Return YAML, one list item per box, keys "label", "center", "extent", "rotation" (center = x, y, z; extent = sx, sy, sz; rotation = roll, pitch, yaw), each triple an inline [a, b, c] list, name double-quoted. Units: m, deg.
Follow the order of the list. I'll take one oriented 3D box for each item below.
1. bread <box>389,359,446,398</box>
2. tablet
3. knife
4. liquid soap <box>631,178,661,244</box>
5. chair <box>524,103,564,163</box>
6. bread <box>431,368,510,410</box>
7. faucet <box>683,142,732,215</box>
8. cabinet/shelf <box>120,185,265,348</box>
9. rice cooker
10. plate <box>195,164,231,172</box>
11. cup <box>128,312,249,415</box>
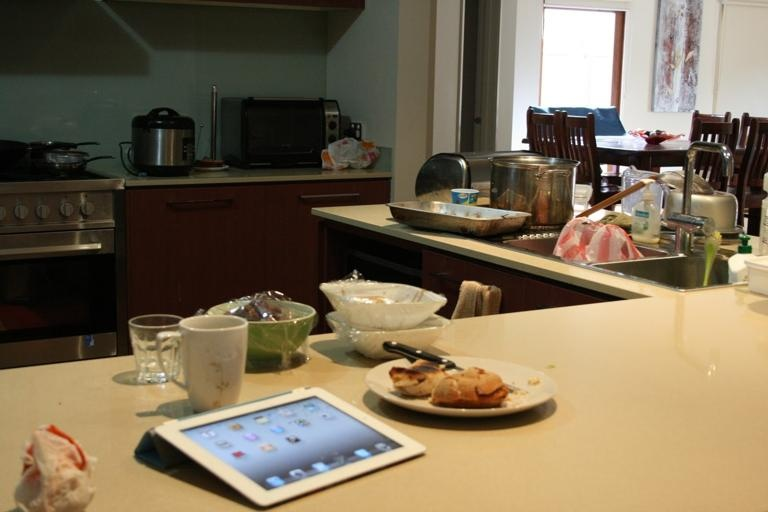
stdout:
- label: "bread"
  center: [0.052, 0.213, 1.003]
  extent: [0.075, 0.050, 0.095]
  rotation: [5, 8, -12]
- label: "tablet"
  center: [-0.141, 0.273, 0.829]
  extent: [0.299, 0.042, 0.267]
  rotation: [-11, 19, -41]
- label: "knife"
  center: [0.109, 0.181, 1.067]
  extent: [0.190, 0.076, 0.201]
  rotation: [1, 8, -30]
- label: "liquid soap"
  center: [1.059, -0.179, 2.262]
  extent: [0.071, 0.264, 0.106]
  rotation: [-20, 24, -40]
- label: "chair"
  center: [1.591, -1.061, 5.285]
  extent: [0.418, 0.529, 0.421]
  rotation: [-13, 24, -41]
- label: "bread"
  center: [0.149, 0.220, 0.994]
  extent: [0.111, 0.059, 0.107]
  rotation: [2, 7, -12]
- label: "faucet"
  center: [1.157, -0.218, 2.054]
  extent: [0.184, 0.381, 0.084]
  rotation: [6, -7, 6]
- label: "cabinet/shelf"
  center: [-1.150, -0.026, 3.728]
  extent: [1.120, 1.011, 0.679]
  rotation: [-4, 7, -31]
- label: "rice cooker"
  center: [-1.325, -0.675, 3.461]
  extent: [0.387, 0.410, 0.369]
  rotation: [-5, 17, -39]
- label: "plate"
  center: [-1.118, -0.569, 3.663]
  extent: [0.219, 0.035, 0.196]
  rotation: [-3, 15, -17]
- label: "cup"
  center: [-0.286, 0.173, 1.003]
  extent: [0.168, 0.166, 0.161]
  rotation: [4, 11, -1]
